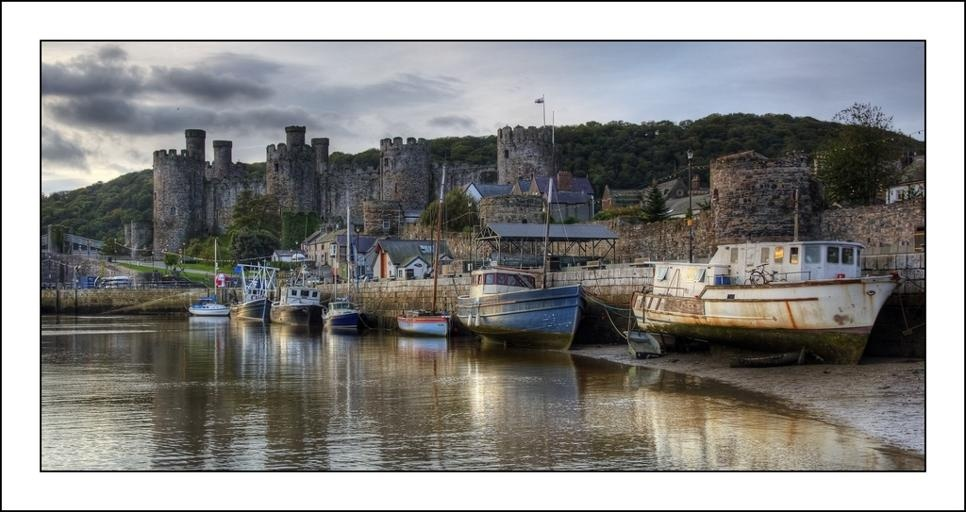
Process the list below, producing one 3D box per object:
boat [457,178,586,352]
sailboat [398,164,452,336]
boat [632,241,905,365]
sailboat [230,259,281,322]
[{"bbox_3d":[2.200,2.862,69.204,2.226,4.334,6.928,-2,2,-41],"label":"boat"},{"bbox_3d":[-3.089,0.247,78.783,2.955,10.069,8.775,5,-7,-16],"label":"sailboat"},{"bbox_3d":[14.022,2.321,65.129,7.404,4.927,15.066,3,-3,-45],"label":"boat"},{"bbox_3d":[-17.365,3.002,99.087,4.169,4.341,11.264,4,-2,-14],"label":"sailboat"}]
